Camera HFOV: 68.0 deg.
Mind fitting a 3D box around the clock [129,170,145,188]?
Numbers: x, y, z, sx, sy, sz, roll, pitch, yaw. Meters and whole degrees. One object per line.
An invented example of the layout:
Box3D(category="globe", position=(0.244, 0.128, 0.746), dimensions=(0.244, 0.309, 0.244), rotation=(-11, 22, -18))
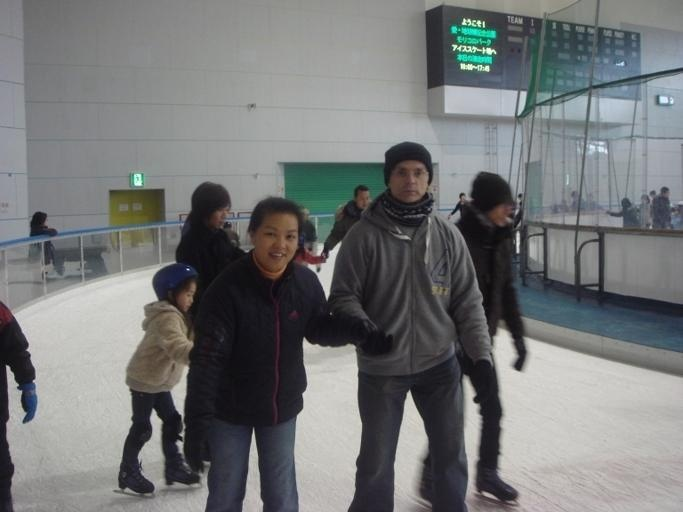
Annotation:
Box3D(category="clock", position=(-6.153, -2.306, 15.276), dimensions=(0.444, 0.463, 0.122), rotation=(-7, 10, -36))

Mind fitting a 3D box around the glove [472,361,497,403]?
Box3D(category="glove", position=(0.722, 0.642, 2.615), dimensions=(0.063, 0.208, 0.144), rotation=(-3, -15, 31))

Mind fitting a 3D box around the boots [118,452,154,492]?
Box3D(category="boots", position=(-1.332, 1.411, 3.271), dimensions=(0.238, 0.198, 0.092), rotation=(8, -5, 17))

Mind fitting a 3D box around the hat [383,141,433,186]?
Box3D(category="hat", position=(0.353, -0.536, 2.860), dimensions=(0.215, 0.202, 0.246), rotation=(1, -12, -2))

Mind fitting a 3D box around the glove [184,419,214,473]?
Box3D(category="glove", position=(-0.675, 0.873, 2.306), dimensions=(0.184, 0.202, 0.119), rotation=(-22, -25, 15))

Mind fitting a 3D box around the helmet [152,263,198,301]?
Box3D(category="helmet", position=(-1.057, 0.163, 3.206), dimensions=(0.270, 0.243, 0.207), rotation=(-10, -7, 15))

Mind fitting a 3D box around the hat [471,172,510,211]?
Box3D(category="hat", position=(0.957, -0.457, 3.405), dimensions=(0.183, 0.283, 0.288), rotation=(-1, 34, -5))
